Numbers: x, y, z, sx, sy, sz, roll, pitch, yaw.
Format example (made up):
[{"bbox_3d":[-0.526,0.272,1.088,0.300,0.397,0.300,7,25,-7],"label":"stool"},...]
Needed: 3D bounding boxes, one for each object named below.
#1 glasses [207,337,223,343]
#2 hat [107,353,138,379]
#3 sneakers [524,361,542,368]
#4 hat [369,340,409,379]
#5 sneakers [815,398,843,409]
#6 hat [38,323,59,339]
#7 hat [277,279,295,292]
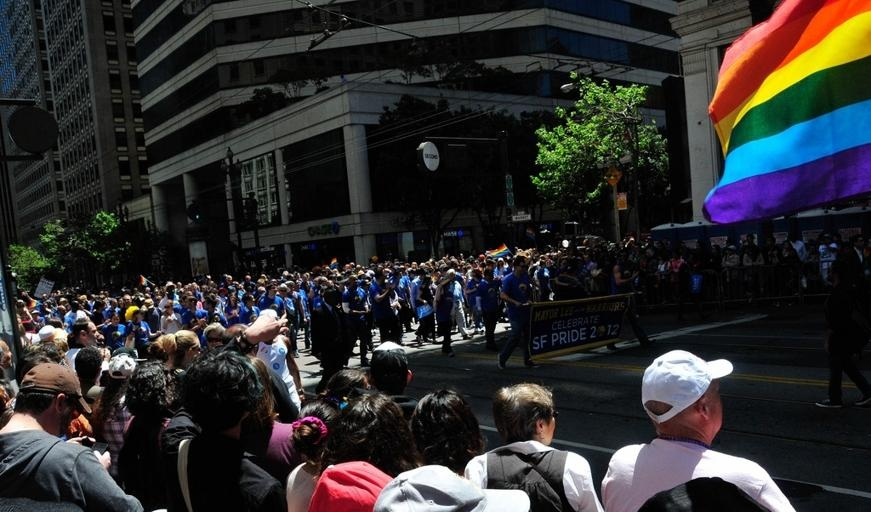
[{"bbox_3d":[-3.446,1.320,12.633,0.322,0.103,0.119,-6,-4,39],"label":"glasses"},{"bbox_3d":[-4.275,1.526,11.060,0.590,0.343,0.279,-6,-4,42],"label":"hat"},{"bbox_3d":[2.220,2.447,18.227,0.384,0.249,0.144,-4,1,-6],"label":"sneakers"},{"bbox_3d":[-0.677,1.434,11.250,0.407,0.555,0.560,1,13,3],"label":"hat"},{"bbox_3d":[6.921,2.580,14.107,0.441,0.184,0.169,2,-2,23],"label":"sneakers"},{"bbox_3d":[-7.255,1.428,15.094,0.256,0.310,0.316,17,-40,-9],"label":"hat"},{"bbox_3d":[-4.584,0.934,25.313,0.609,0.305,0.355,9,10,33],"label":"hat"}]
